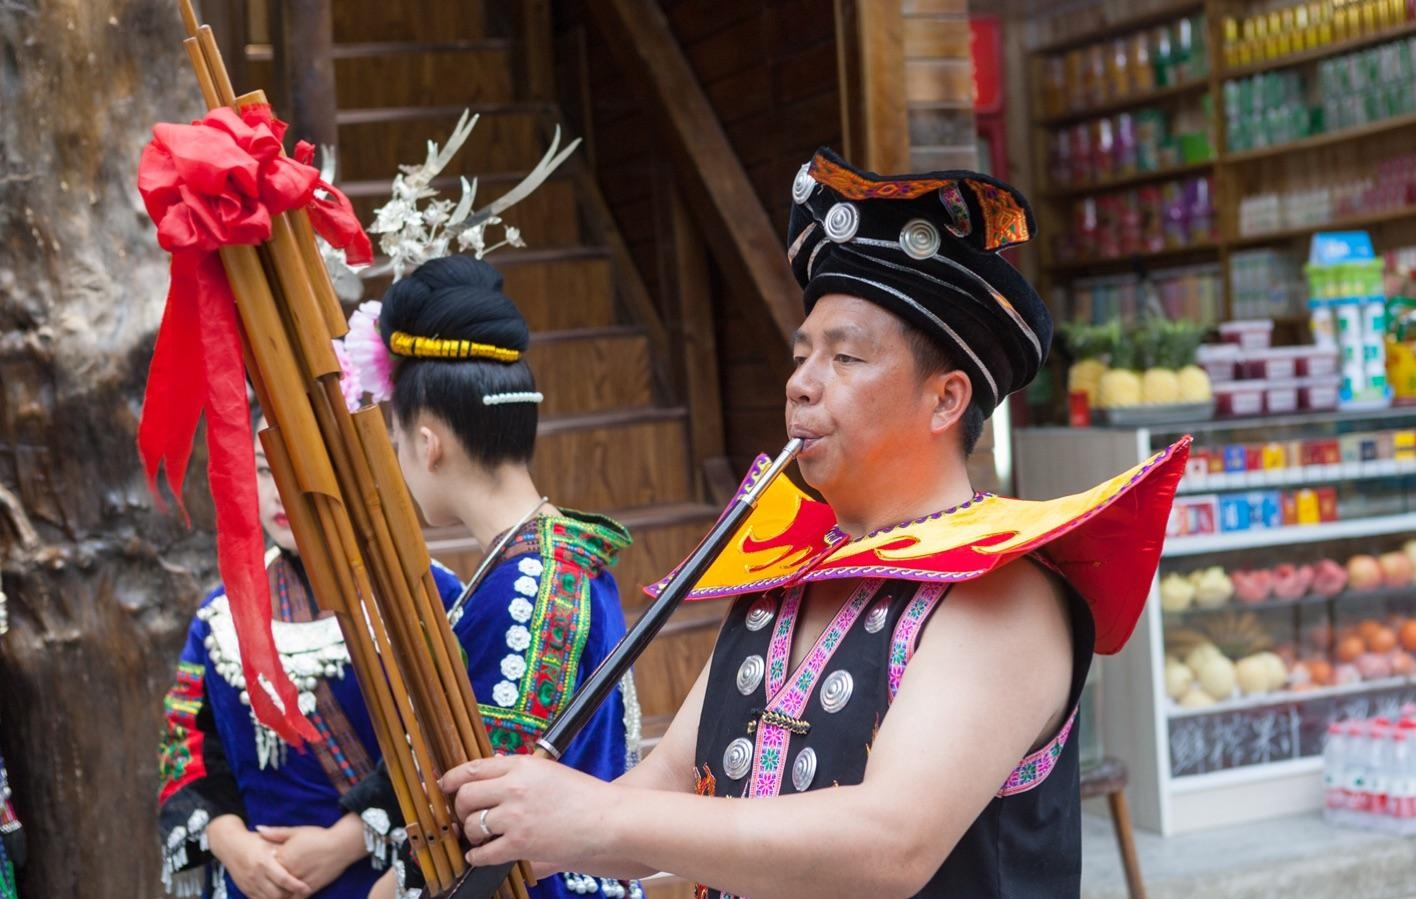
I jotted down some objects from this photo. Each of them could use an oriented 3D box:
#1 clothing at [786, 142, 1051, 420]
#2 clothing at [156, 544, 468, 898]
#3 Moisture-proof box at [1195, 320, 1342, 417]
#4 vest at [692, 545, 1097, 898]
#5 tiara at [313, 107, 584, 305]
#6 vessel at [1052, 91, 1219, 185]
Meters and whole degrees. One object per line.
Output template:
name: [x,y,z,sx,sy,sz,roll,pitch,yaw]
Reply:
clothing: [0.401,-0.322,3.945,0.612,0.268,0.682,8,-28,22]
clothing: [-0.859,0.620,3.988,0.791,0.810,0.463,-3,4,-1]
Moisture-proof box: [1.932,-0.248,6.295,0.384,0.243,0.361,-1,0,-4]
vest: [0.382,0.554,3.648,0.552,0.773,0.424,4,-34,40]
tiara: [-0.608,-0.545,4.333,0.705,0.213,0.645,-21,-1,-41]
vessel: [1.881,-1.389,8.343,0.918,0.338,0.280,-11,11,-17]
